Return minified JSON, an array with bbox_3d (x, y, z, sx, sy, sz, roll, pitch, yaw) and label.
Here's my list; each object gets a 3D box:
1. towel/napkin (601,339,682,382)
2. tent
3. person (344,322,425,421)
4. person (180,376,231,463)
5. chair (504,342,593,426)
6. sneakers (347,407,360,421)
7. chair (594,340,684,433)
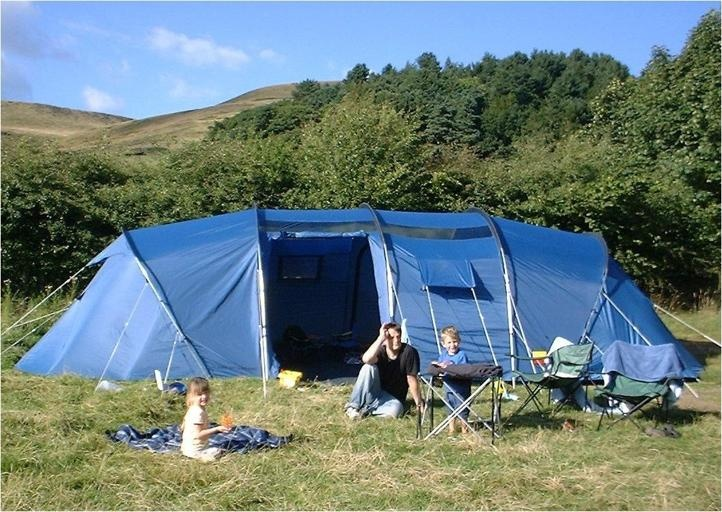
[{"bbox_3d":[3.804,1.406,8.211,0.762,0.250,0.661,-7,-3,26],"label":"towel/napkin"},{"bbox_3d":[0.047,0.676,10.038,10.579,2.795,4.736,2,9,-1],"label":"tent"},{"bbox_3d":[0.297,1.475,7.977,0.913,1.253,0.545,-1,12,-16],"label":"person"},{"bbox_3d":[-1.725,1.763,6.747,0.478,0.837,0.489,-3,12,-27],"label":"person"},{"bbox_3d":[2.629,1.647,8.430,0.925,1.068,1.405,6,11,21],"label":"chair"},{"bbox_3d":[-0.098,2.048,7.972,0.129,0.090,0.212,3,-16,-10],"label":"sneakers"},{"bbox_3d":[3.635,1.744,8.034,1.346,0.994,1.241,-3,8,3],"label":"chair"}]
